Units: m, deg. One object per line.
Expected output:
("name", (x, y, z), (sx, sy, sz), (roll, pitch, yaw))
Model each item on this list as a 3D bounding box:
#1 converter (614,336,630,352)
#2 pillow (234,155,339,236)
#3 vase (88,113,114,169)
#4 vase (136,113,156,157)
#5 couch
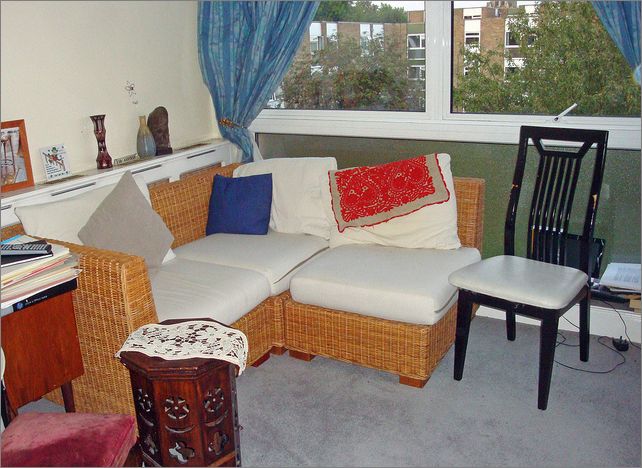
("converter", (1.838, 0.673, 3.117), (0.058, 0.034, 0.086), (-6, 9, 5))
("pillow", (-0.153, -0.271, 3.474), (0.555, 0.569, 0.138), (-5, -2, 22))
("vase", (-1.463, -0.617, 3.396), (0.104, 0.341, 0.246), (-9, 20, -21))
("vase", (-1.236, -0.687, 3.608), (0.114, 0.290, 0.210), (0, 19, 5))
("couch", (-0.387, 0.222, 2.579), (1.850, 0.888, 1.636), (11, 21, 25))
